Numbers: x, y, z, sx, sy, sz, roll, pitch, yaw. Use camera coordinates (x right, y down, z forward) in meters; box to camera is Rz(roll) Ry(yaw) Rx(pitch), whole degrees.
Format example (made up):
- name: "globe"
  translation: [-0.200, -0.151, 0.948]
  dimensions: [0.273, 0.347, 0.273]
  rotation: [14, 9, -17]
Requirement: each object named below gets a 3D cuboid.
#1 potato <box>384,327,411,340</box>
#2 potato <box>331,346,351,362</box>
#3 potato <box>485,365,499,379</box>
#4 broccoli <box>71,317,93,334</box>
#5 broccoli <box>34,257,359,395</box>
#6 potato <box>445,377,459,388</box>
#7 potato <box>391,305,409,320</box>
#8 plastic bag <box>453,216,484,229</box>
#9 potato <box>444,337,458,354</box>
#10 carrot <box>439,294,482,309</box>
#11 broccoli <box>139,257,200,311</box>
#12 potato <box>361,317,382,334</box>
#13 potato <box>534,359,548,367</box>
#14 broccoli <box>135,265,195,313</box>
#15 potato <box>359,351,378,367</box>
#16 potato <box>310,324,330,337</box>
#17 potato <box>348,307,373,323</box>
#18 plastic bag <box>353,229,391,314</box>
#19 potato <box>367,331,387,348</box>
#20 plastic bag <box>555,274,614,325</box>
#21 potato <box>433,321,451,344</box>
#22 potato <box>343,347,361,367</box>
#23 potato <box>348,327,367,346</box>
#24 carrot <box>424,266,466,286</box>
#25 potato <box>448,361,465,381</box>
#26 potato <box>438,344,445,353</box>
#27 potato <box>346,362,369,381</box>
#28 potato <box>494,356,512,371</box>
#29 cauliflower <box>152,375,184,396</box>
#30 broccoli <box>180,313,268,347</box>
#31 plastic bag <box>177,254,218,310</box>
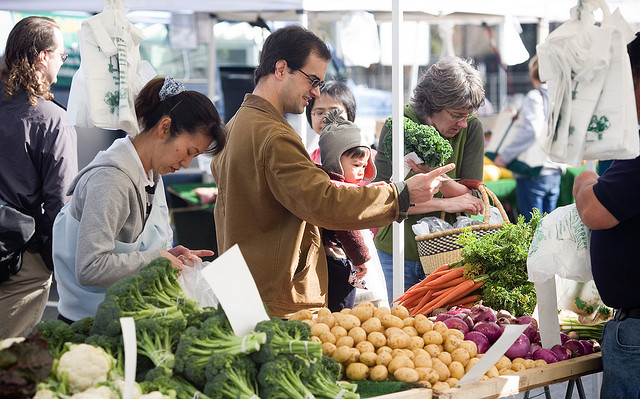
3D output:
- name: "potato"
  translation: [0.399, 0.718, 3.099]
  dimensions: [0.079, 0.045, 0.061]
  rotation: [8, -15, -17]
- name: "potato"
  translation: [0.109, 0.800, 3.005]
  dimensions: [0.084, 0.064, 0.049]
  rotation: [-19, 22, 10]
- name: "potato"
  translation: [0.928, 0.911, 3.051]
  dimensions: [0.050, 0.066, 0.037]
  rotation: [-1, -23, 12]
- name: "broccoli"
  translation: [-1.211, 0.636, 2.930]
  dimensions: [0.070, 0.042, 0.088]
  rotation: [37, 50, 21]
- name: "broccoli"
  translation: [-0.547, 0.704, 2.764]
  dimensions: [1.060, 0.328, 0.777]
  rotation: [1, 9, -20]
- name: "potato"
  translation: [0.682, 0.934, 2.956]
  dimensions: [0.042, 0.024, 0.043]
  rotation: [-1, 7, 2]
- name: "potato"
  translation: [0.450, 0.626, 3.225]
  dimensions: [0.081, 0.063, 0.065]
  rotation: [25, -5, -2]
- name: "plastic bag"
  translation: [1.028, 0.133, 4.015]
  dimensions: [0.124, 0.066, 0.113]
  rotation: [3, 18, 33]
- name: "potato"
  translation: [0.706, 0.778, 3.098]
  dimensions: [0.074, 0.087, 0.069]
  rotation: [8, 41, 1]
- name: "carrot"
  translation: [0.889, 0.652, 3.685]
  dimensions: [0.225, 0.044, 0.032]
  rotation: [-18, 4, -9]
- name: "broccoli"
  translation: [-0.780, 0.437, 3.057]
  dimensions: [0.329, 0.153, 0.213]
  rotation: [37, 44, 14]
- name: "potato"
  translation: [0.282, 0.680, 3.120]
  dimensions: [0.089, 0.071, 0.050]
  rotation: [-1, 42, -10]
- name: "potato"
  translation: [1.208, 0.888, 3.149]
  dimensions: [0.080, 0.025, 0.059]
  rotation: [1, 3, 0]
- name: "broccoli"
  translation: [-0.814, 0.443, 2.979]
  dimensions: [0.193, 0.299, 0.188]
  rotation: [-1, -2, 2]
- name: "potato"
  translation: [0.253, 0.824, 2.995]
  dimensions: [0.071, 0.041, 0.077]
  rotation: [1, -1, 11]
- name: "potato"
  translation: [-0.001, 0.696, 3.108]
  dimensions: [0.082, 0.059, 0.105]
  rotation: [-2, -2, 0]
- name: "potato"
  translation: [0.238, 0.632, 3.180]
  dimensions: [0.103, 0.056, 0.079]
  rotation: [-2, -3, 0]
- name: "plastic bag"
  translation: [0.291, 0.517, 4.260]
  dimensions: [0.273, 0.600, 0.439]
  rotation: [0, 0, -1]
- name: "potato"
  translation: [0.312, 0.739, 3.064]
  dimensions: [0.070, 0.043, 0.084]
  rotation: [3, 22, -23]
- name: "plastic bag"
  translation: [1.591, 0.607, 3.467]
  dimensions: [0.325, 0.291, 0.135]
  rotation: [2, 3, 19]
- name: "potato"
  translation: [0.673, 0.719, 3.154]
  dimensions: [0.077, 0.103, 0.058]
  rotation: [-6, -39, -22]
- name: "potato"
  translation: [0.178, 0.820, 3.006]
  dimensions: [0.082, 0.105, 0.083]
  rotation: [-8, 9, 7]
- name: "potato"
  translation: [0.203, 0.731, 3.073]
  dimensions: [0.087, 0.103, 0.084]
  rotation: [0, -11, -8]
- name: "carrot"
  translation: [0.822, 0.498, 3.738]
  dimensions: [0.257, 0.038, 0.035]
  rotation: [-22, 14, -3]
- name: "potato"
  translation: [0.715, 0.884, 3.006]
  dimensions: [0.083, 0.102, 0.078]
  rotation: [-7, 1, -5]
- name: "potato"
  translation: [0.654, 0.800, 3.098]
  dimensions: [0.029, 0.035, 0.029]
  rotation: [-2, 9, 2]
- name: "potato"
  translation: [0.194, 0.884, 2.978]
  dimensions: [0.100, 0.076, 0.077]
  rotation: [5, 3, 14]
- name: "potato"
  translation: [0.995, 0.879, 3.122]
  dimensions: [0.061, 0.045, 0.079]
  rotation: [-2, 7, -24]
- name: "cauliflower"
  translation: [-0.717, 0.870, 2.692]
  dimensions: [0.142, 0.086, 0.063]
  rotation: [1, 3, 2]
- name: "broccoli"
  translation: [-0.489, 0.627, 2.774]
  dimensions: [0.356, 0.122, 0.449]
  rotation: [-3, 6, -30]
- name: "plastic bag"
  translation: [-0.728, 0.500, 3.420]
  dimensions: [0.247, 0.365, 0.086]
  rotation: [-24, -14, -21]
